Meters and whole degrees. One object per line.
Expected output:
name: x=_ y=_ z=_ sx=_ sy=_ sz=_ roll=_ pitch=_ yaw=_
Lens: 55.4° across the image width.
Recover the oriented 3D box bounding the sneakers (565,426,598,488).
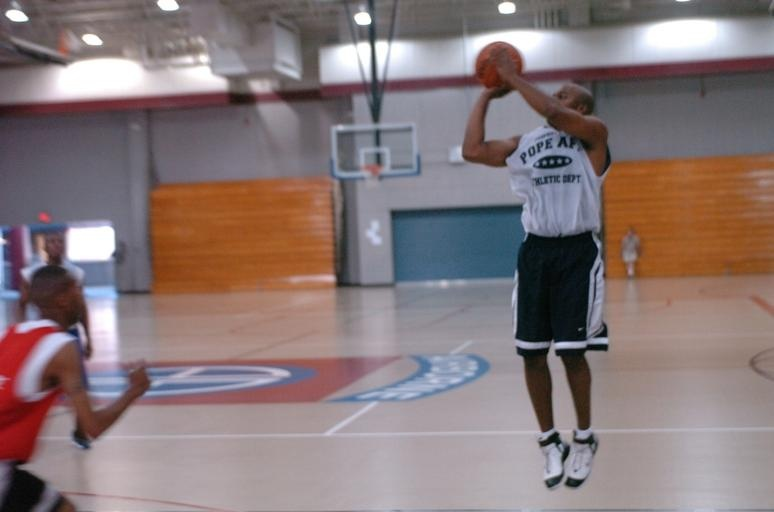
sneakers: x=1.053 y=1.091 z=4.013 sx=0.121 sy=0.139 sz=0.356 roll=-1 pitch=22 yaw=23

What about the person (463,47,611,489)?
person: x=0.844 y=0.018 z=4.052 sx=0.712 sy=2.384 sz=0.586 roll=0 pitch=9 yaw=15

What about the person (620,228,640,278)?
person: x=4.019 y=-0.066 z=12.216 sx=0.215 sy=0.833 sz=0.521 roll=5 pitch=11 yaw=41
